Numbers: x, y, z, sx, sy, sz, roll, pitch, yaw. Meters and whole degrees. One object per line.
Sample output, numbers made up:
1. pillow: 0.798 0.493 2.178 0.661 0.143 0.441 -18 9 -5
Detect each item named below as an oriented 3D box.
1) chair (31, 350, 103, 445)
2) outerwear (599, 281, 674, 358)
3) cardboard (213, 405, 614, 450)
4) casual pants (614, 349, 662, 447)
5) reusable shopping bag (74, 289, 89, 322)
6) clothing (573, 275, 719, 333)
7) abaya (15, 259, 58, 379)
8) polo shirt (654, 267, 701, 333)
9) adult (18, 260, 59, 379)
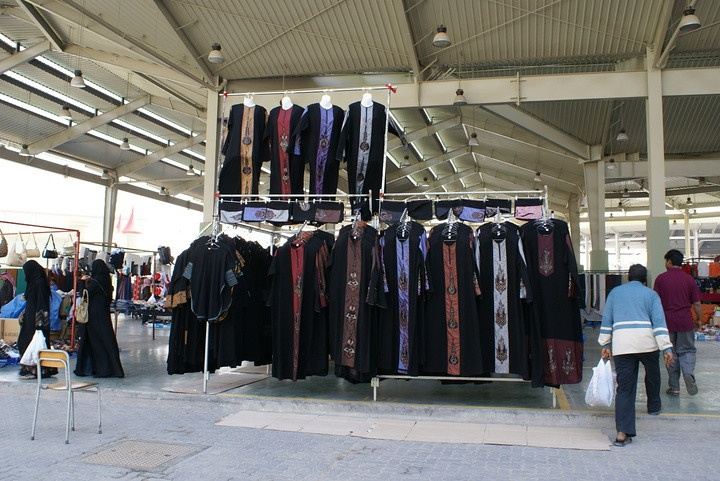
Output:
1. chair: -4.296 2.196 8.596 0.873 1.238 1.968 3 -7 -27
2. outerwear: 3.729 1.077 7.979 0.964 0.939 0.504 -5 -13 37
3. cardboard: 0.817 2.690 8.232 5.110 0.258 0.764 -1 -6 8
4. casual pants: 3.773 2.093 7.889 0.838 1.172 0.505 4 -8 -35
5. reusable shopping bag: -4.933 1.184 10.410 0.196 0.619 0.255 3 -7 -26
6. clothing: 5.120 1.165 10.653 2.086 0.554 2.349 -1 -3 36
7. abaya: -5.834 1.407 10.642 0.707 2.064 0.772 -2 1 -45
8. polo shirt: 4.974 1.095 9.206 0.704 1.640 0.519 -2 11 23
9. adult: -5.864 1.408 10.600 0.803 1.982 0.699 -5 -3 41
